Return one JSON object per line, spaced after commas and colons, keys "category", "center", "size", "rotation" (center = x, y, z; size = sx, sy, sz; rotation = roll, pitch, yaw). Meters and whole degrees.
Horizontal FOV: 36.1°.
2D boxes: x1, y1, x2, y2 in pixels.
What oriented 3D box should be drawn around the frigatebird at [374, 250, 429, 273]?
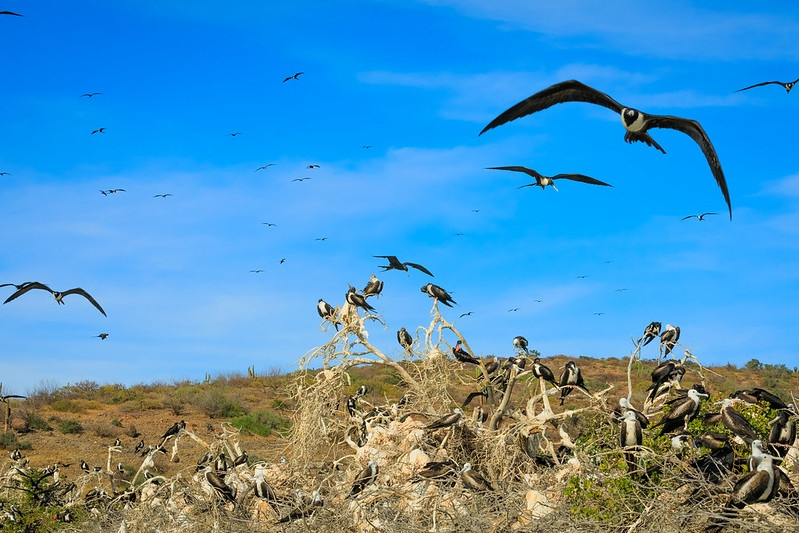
{"category": "frigatebird", "center": [0.033, -0.014, 23.032], "size": [0.747, 0.098, 0.407], "rotation": [22, -11, -42]}
